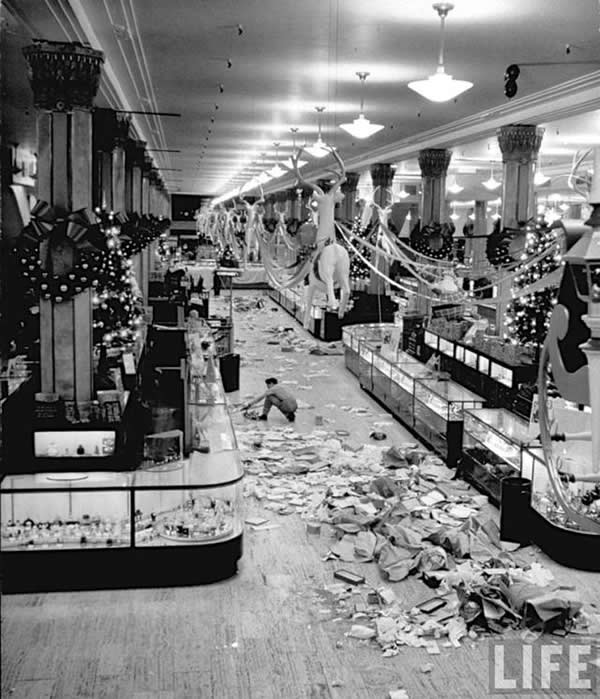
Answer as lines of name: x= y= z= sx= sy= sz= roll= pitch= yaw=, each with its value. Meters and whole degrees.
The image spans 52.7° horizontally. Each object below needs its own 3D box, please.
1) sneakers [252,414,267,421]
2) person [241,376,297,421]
sneakers: x=-0.730 y=1.276 z=11.072 sx=0.265 sy=0.146 sz=0.114 roll=4 pitch=1 yaw=3
person: x=-0.543 y=0.944 z=11.229 sx=0.771 sy=0.872 sz=0.422 roll=3 pitch=-1 yaw=5
